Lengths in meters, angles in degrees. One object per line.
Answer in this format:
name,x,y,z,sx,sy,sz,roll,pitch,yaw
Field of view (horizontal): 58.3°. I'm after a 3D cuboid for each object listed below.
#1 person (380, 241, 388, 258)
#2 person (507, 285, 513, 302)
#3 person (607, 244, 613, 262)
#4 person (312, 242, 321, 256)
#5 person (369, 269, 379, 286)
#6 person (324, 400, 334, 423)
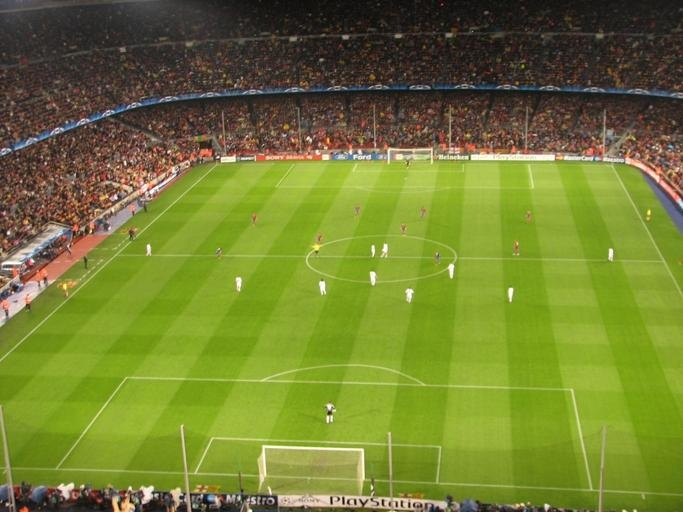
person,4.564,-0.729,64.108,0.768,1.396,0.430,6,-56,-4
person,15.091,3.430,54.506,0.574,1.312,1.690,-5,-27,15
person,26.851,-0.259,60.905,0.773,1.401,0.305,4,-9,16
person,-2.703,-0.776,65.418,1.230,0.581,1.494,10,-37,4
person,3.063,2.078,58.433,0.713,1.614,1.963,2,-26,1
person,-0.788,10.709,41.885,0.634,1.460,1.405,2,-26,1
